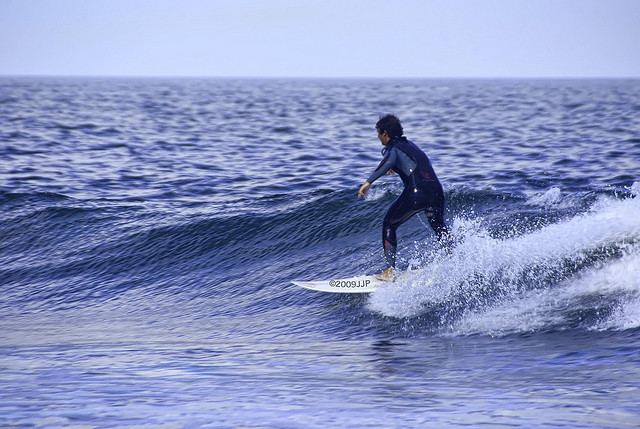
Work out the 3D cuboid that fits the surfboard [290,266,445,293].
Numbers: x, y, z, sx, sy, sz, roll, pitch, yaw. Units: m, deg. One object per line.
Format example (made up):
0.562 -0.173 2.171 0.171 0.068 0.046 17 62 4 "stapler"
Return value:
1.172 1.185 13.976 3.769 0.361 0.268 -8 -6 25 "surfboard"
